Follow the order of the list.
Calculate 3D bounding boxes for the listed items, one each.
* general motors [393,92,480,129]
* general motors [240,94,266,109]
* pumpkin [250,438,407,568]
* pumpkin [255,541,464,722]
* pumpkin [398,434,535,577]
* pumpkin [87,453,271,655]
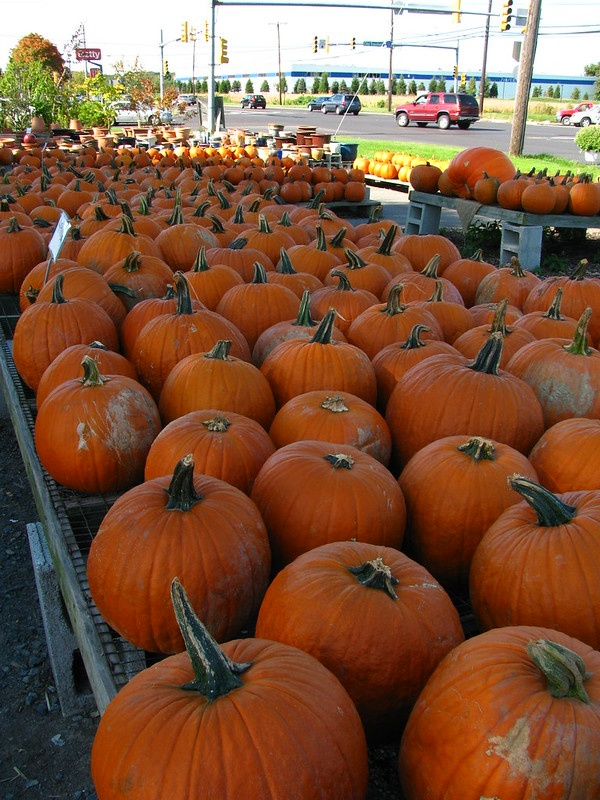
[{"bbox_3d":[9.523,-19.678,38.422,5.066,2.375,1.401,12,24,25],"label":"general motors"},{"bbox_3d":[-5.110,-31.815,60.246,2.458,1.366,1.924,12,24,26],"label":"general motors"},{"bbox_3d":[0.098,0.287,1.788,0.385,0.363,0.387,8,9,-23],"label":"pumpkin"},{"bbox_3d":[0.204,0.508,1.353,0.311,0.298,0.333,12,40,23],"label":"pumpkin"},{"bbox_3d":[0.527,0.311,2.003,0.431,0.517,0.440,15,13,29],"label":"pumpkin"},{"bbox_3d":[-0.318,0.420,1.696,0.520,0.566,0.555,2,23,-12],"label":"pumpkin"}]
